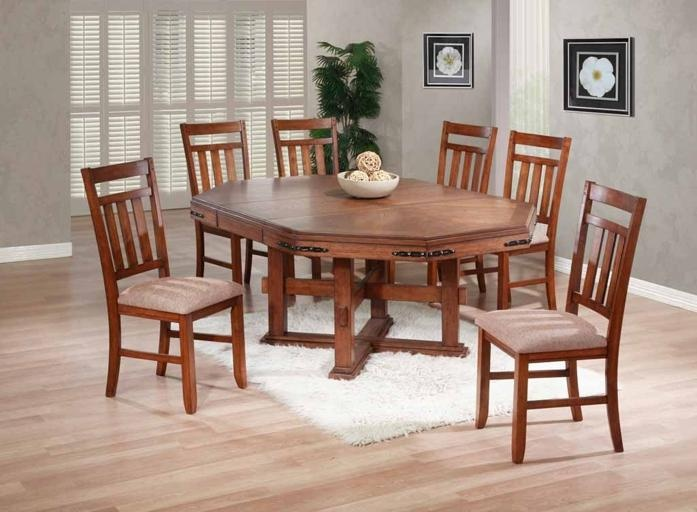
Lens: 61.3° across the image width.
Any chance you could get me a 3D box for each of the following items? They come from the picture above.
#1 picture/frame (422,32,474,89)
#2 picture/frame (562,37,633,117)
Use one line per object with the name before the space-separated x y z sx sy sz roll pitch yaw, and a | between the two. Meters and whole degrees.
picture/frame | 0.921 -1.859 5.536 0.680 0.531 0.048 0 6 -6
picture/frame | 1.929 -1.373 4.486 0.085 0.562 0.768 -8 13 -35
